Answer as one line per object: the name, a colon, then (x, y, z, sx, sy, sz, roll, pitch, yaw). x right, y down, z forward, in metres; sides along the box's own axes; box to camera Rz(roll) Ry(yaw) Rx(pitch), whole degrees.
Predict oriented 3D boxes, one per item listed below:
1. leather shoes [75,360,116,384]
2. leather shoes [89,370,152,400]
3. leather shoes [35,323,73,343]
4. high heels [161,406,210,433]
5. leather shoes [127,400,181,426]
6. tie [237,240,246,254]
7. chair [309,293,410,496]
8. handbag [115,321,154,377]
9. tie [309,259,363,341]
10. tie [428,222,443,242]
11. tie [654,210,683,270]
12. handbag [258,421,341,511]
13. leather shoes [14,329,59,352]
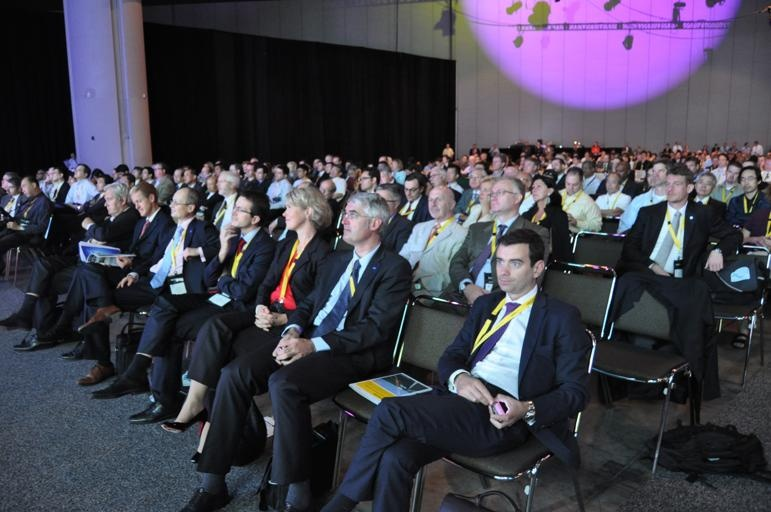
leather shoes: (-2.628, 1.035, 4.620, 0.124, 0.154, 0.352, 3, 3, 24)
leather shoes: (-2.229, 1.089, 4.346, 0.520, 0.235, 0.213, 0, 1, -21)
leather shoes: (-3.396, 0.766, 5.256, 0.406, 0.214, 0.144, -1, 20, -38)
high heels: (-1.449, 1.180, 3.640, 0.294, 0.210, 0.173, -7, 15, -35)
leather shoes: (-1.835, 1.228, 4.005, 0.374, 0.175, 0.155, 1, 0, -24)
tie: (-1.267, -0.089, 4.427, 0.072, 0.107, 0.032, 29, -1, 40)
chair: (-0.110, 0.899, 3.377, 0.334, 1.173, 0.731, 6, 13, 21)
handbag: (-2.349, 0.818, 4.662, 0.214, 0.400, 0.400, 15, 0, 9)
tie: (-0.343, 0.312, 3.572, 0.089, 0.630, 0.071, 37, -30, -15)
tie: (0.477, -0.249, 4.979, 0.060, 0.168, 0.121, 32, 3, 38)
tie: (2.546, -0.155, 4.532, 0.288, 0.557, 0.108, -8, 14, -43)
handbag: (-0.521, 1.299, 3.142, 0.182, 0.486, 0.488, 13, 15, 37)
leather shoes: (-3.561, 0.853, 5.267, 0.468, 0.200, 0.176, 2, 6, -23)
